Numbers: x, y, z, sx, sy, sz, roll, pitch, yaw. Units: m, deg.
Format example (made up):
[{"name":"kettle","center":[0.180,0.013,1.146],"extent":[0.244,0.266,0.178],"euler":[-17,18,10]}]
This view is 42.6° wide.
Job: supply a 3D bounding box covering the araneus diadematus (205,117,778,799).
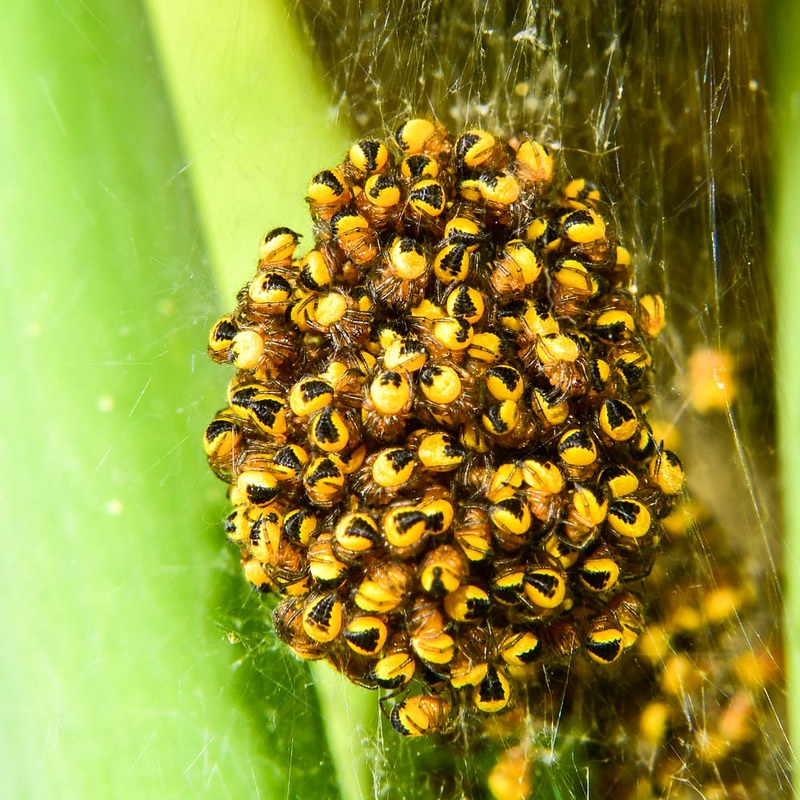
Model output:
[{"name":"araneus diadematus","center":[0.054,0.008,1.017],"extent":[0.414,0.252,0.702],"euler":[2,78,-6]}]
